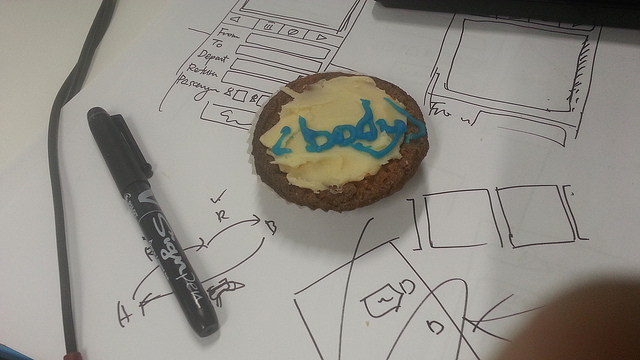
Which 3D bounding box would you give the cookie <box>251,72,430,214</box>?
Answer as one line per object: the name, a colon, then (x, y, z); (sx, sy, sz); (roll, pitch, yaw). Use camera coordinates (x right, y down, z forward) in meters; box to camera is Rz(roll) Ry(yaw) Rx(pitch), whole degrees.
cookie: (0.047, -0.089, 1.355); (0.415, 0.169, 0.314); (-1, 62, -10)
